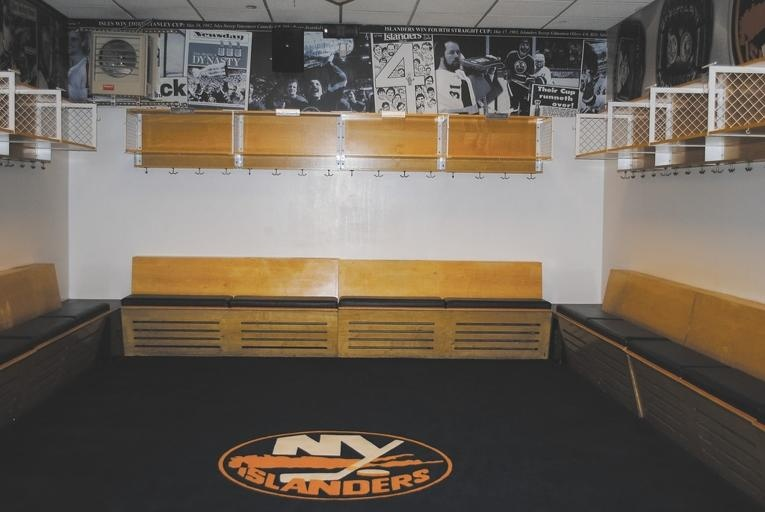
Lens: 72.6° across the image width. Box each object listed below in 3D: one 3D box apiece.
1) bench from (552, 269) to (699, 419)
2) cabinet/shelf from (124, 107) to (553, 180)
[{"bbox_3d":[2.649,0.870,5.568,0.775,1.153,1.978,-6,12,-13],"label":"bench"},{"bbox_3d":[-0.661,-1.427,6.058,5.469,0.697,0.949,0,6,-2],"label":"cabinet/shelf"}]
